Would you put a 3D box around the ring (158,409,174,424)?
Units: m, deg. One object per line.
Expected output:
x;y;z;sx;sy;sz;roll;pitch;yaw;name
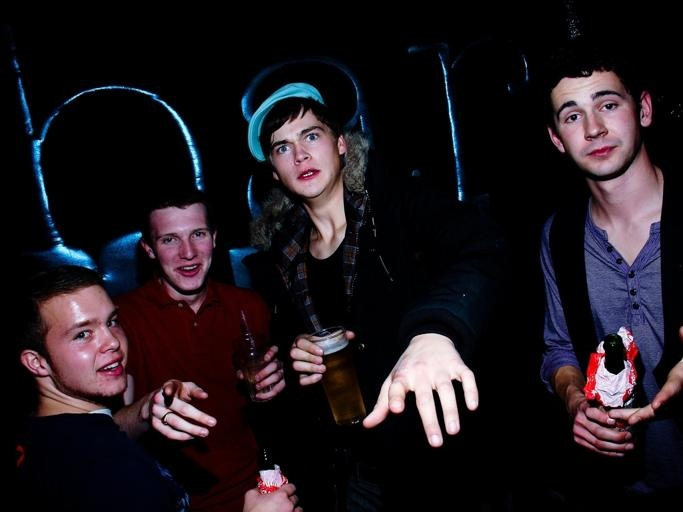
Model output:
-1.163;1.068;3.874;0.031;0.081;0.071;27;-13;-18;ring
